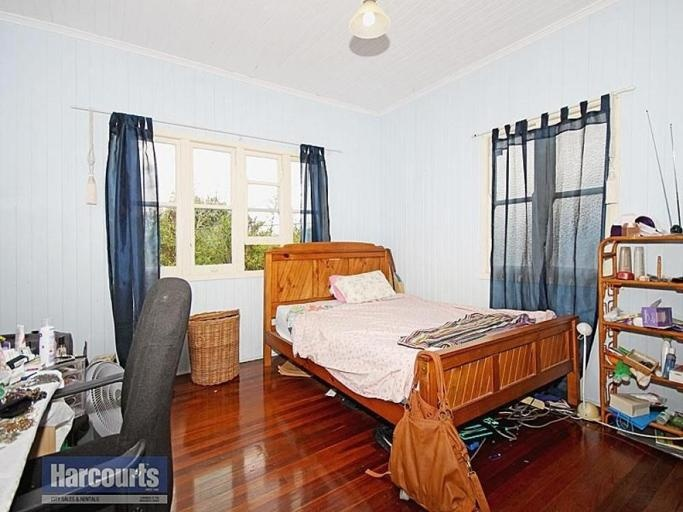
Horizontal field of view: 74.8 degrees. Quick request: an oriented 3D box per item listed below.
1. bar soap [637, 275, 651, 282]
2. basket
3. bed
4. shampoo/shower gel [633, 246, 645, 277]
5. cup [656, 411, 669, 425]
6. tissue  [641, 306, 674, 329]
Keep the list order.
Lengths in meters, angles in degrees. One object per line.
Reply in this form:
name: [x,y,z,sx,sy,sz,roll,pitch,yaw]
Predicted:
bar soap: [2.381,0.166,3.518,0.098,0.044,0.122,12,19,42]
basket: [-1.297,0.910,4.518,0.500,0.661,0.381,-4,8,-29]
bed: [0.509,0.728,4.237,1.630,1.483,2.289,-2,1,-35]
shampoo/shower gel: [2.359,0.045,3.536,0.076,0.229,0.115,2,14,12]
cup: [2.470,1.246,3.429,0.119,0.049,0.075,-9,16,-28]
tissue : [2.440,0.467,3.426,0.235,0.167,0.109,-1,14,0]
